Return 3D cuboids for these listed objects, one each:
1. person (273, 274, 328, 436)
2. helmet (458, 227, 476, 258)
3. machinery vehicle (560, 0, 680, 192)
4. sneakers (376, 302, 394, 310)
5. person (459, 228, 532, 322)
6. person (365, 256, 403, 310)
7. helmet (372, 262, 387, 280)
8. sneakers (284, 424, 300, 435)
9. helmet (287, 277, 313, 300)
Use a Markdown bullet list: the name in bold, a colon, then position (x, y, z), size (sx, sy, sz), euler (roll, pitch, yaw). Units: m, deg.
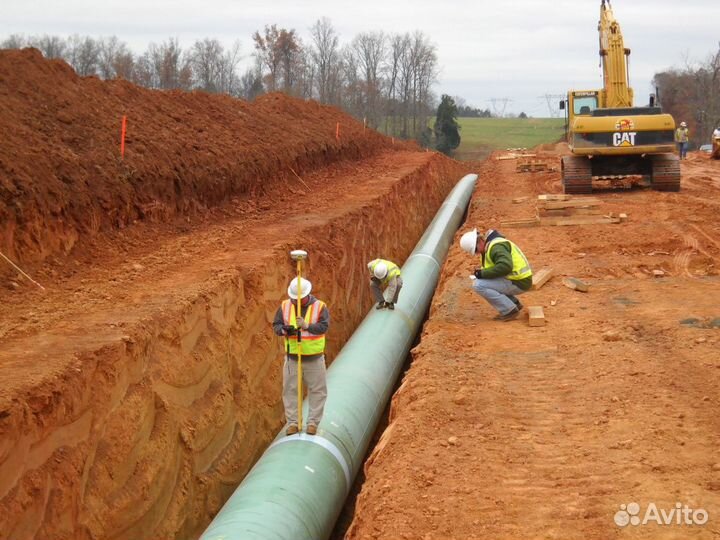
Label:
- **person**: position (-0.730, 1.078, 8.066), size (0.644, 2.198, 0.575), euler (-3, 14, -9)
- **helmet**: position (1.589, -0.436, 9.623), size (0.288, 0.285, 0.371), euler (17, 34, 0)
- **machinery vehicle**: position (6.778, -4.558, 17.266), size (3.194, 4.865, 4.393), euler (3, 15, 16)
- **sneakers**: position (0.438, 0.625, 11.641), size (0.325, 0.161, 0.115), euler (5, 1, 11)
- **person**: position (2.014, 0.036, 9.703), size (0.875, 1.352, 0.911), euler (-3, -5, -27)
- **person**: position (0.435, 0.260, 11.320), size (0.524, 0.994, 0.884), euler (0, 14, 3)
- **helmet**: position (0.321, 0.019, 10.936), size (0.243, 0.324, 0.230), euler (1, 14, 8)
- **sneakers**: position (-0.859, 2.042, 8.413), size (0.099, 0.112, 0.233), euler (-1, -12, 6)
- **helmet**: position (-0.744, 0.186, 7.854), size (0.233, 0.129, 0.307), euler (-19, 35, 12)
